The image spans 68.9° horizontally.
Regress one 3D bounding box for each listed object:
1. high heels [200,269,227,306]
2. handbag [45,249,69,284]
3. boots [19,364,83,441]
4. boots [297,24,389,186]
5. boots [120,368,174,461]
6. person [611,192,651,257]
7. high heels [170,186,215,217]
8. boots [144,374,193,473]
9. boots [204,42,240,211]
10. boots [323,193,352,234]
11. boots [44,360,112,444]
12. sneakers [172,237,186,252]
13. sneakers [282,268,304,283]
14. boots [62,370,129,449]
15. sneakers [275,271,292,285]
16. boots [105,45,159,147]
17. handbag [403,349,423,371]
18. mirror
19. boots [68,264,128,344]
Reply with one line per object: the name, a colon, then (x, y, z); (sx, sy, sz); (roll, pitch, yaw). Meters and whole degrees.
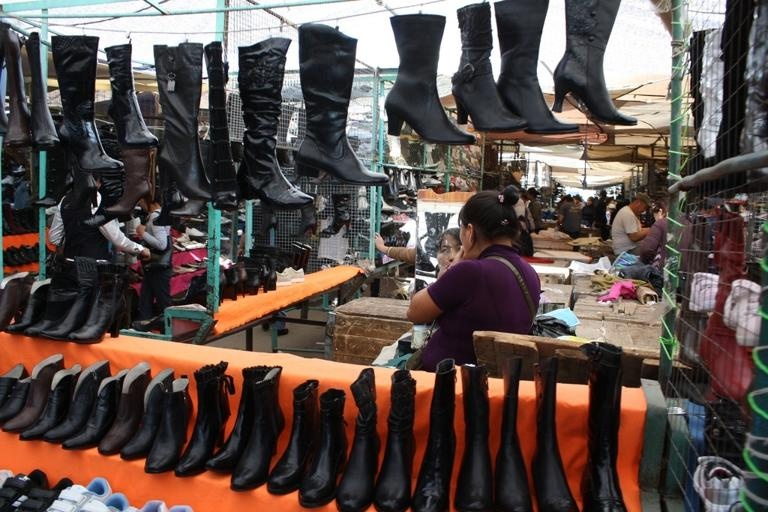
high heels: (-1.482, 0.296, 4.933); (0.130, 0.162, 0.388); (-1, -20, -3)
handbag: (-2.537, 0.087, 4.318); (0.157, 0.216, 0.061); (3, -14, 35)
boots: (-1.954, 0.861, 3.259); (0.158, 0.289, 0.438); (12, 12, 2)
boots: (-0.232, -0.781, 2.953); (0.436, 0.805, 0.201); (0, 6, -9)
boots: (-1.326, 0.872, 3.112); (0.168, 0.337, 0.502); (2, 10, 8)
person: (3.945, -0.385, 8.744); (0.715, 1.135, 0.640); (4, 11, 26)
high heels: (-1.155, -0.314, 3.485); (0.319, 0.138, 0.104); (-7, 16, -18)
boots: (-1.135, 0.893, 3.016); (0.157, 0.199, 0.477); (7, 37, 4)
boots: (-0.946, -0.737, 3.246); (0.180, 0.948, 0.271); (-1, 6, -17)
boots: (-0.655, -0.553, 7.686); (0.380, 0.585, 0.171); (0, 6, -6)
boots: (-1.803, 0.840, 3.238); (0.158, 0.306, 0.463); (8, 17, 22)
sneakers: (-3.127, -0.166, 8.499); (0.151, 0.180, 0.542); (-1, 6, -23)
sneakers: (-1.029, 0.223, 6.225); (0.291, 0.118, 0.103); (0, 3, 2)
boots: (-1.639, 0.878, 3.159); (0.158, 0.298, 0.447); (6, 6, 8)
sneakers: (-1.100, 0.245, 6.084); (0.147, 0.156, 0.367); (-1, 3, -18)
boots: (-1.578, -0.980, 3.496); (0.291, 0.618, 0.185); (-2, 6, -24)
handbag: (0.188, 0.663, 3.569); (0.020, 0.066, 0.103); (-16, 17, 43)
mirror: (0.678, -0.152, 6.139); (0.793, 1.080, 0.755); (-2, 4, -45)
boots: (-1.862, 0.315, 3.596); (0.213, 0.482, 0.509); (-2, -1, 9)
